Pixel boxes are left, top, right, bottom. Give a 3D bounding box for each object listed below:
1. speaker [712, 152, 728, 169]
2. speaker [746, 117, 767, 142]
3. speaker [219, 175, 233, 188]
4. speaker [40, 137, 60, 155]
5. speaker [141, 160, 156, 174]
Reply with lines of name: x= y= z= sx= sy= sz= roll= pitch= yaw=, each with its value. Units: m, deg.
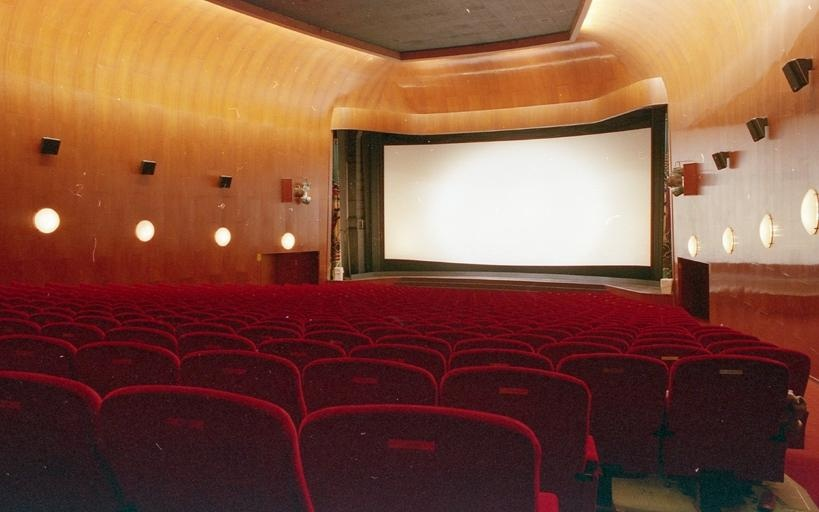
speaker: x=5.885 y=-1.796 z=10.091 sx=0.304 sy=0.331 sz=0.292 roll=9 pitch=-6 yaw=27
speaker: x=5.518 y=-2.009 z=8.523 sx=0.332 sy=0.379 sz=0.319 roll=7 pitch=-3 yaw=10
speaker: x=-5.555 y=-2.239 z=16.143 sx=0.130 sy=0.345 sz=0.396 roll=14 pitch=4 yaw=29
speaker: x=-8.343 y=-2.540 z=12.396 sx=0.219 sy=0.376 sz=0.407 roll=25 pitch=20 yaw=37
speaker: x=-6.949 y=-2.354 z=14.216 sx=0.200 sy=0.339 sz=0.398 roll=17 pitch=13 yaw=42
